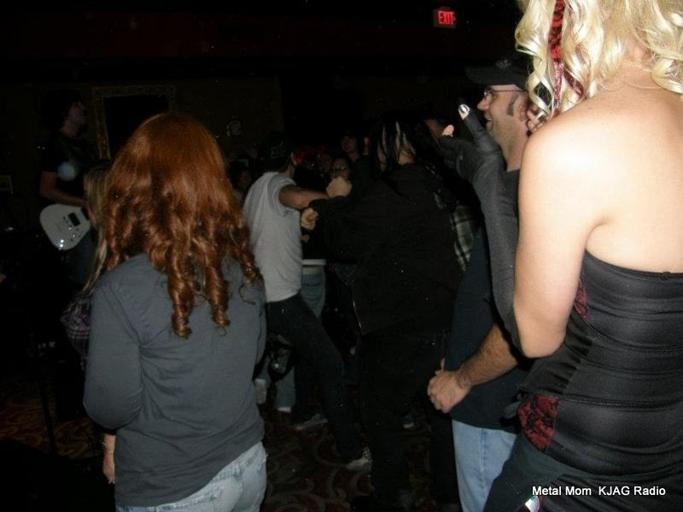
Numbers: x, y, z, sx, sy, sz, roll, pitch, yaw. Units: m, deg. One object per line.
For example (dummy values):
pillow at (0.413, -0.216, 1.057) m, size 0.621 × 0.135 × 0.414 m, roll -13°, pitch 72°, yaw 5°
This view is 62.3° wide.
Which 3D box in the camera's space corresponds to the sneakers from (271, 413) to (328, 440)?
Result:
sneakers at (-0.258, 1.077, 3.700) m, size 0.423 × 0.159 × 0.124 m, roll -8°, pitch 41°, yaw 6°

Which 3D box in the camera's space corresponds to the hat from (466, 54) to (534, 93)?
hat at (0.527, -0.594, 1.896) m, size 0.222 × 0.076 × 0.134 m, roll 4°, pitch 46°, yaw 14°

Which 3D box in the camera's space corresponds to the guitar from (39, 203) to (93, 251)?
guitar at (-1.841, -0.205, 3.779) m, size 0.226 × 0.278 × 0.359 m, roll -3°, pitch 15°, yaw 11°
